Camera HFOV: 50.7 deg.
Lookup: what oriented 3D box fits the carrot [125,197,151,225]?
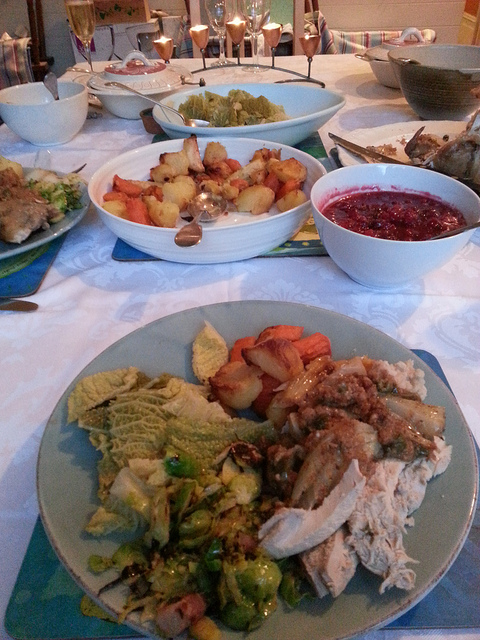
[{"bbox_3d":[-0.250,-0.268,1.255,0.046,0.018,0.073,-9,75,-24],"label":"carrot"}]

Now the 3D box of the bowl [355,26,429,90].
[{"bbox_3d":[0.762,-1.171,2.242,0.394,0.222,0.330,10,38,29],"label":"bowl"}]

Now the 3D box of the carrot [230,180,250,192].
[{"bbox_3d":[0.002,-0.386,1.438,0.036,0.022,0.041,3,30,-1],"label":"carrot"}]

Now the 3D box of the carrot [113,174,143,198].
[{"bbox_3d":[-0.303,-0.366,1.402,0.070,0.022,0.068,-1,40,-43],"label":"carrot"}]

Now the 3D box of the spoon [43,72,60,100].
[{"bbox_3d":[-0.751,-0.934,2.024,0.037,0.115,0.020,-12,76,-7],"label":"spoon"}]

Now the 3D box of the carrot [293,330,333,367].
[{"bbox_3d":[0.124,0.048,0.854,0.063,0.022,0.045,-29,55,-14],"label":"carrot"}]

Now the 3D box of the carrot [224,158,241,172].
[{"bbox_3d":[-0.019,-0.477,1.553,0.049,0.025,0.046,-3,46,-41],"label":"carrot"}]

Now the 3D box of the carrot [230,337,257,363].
[{"bbox_3d":[0.006,0.050,0.901,0.044,0.013,0.042,-11,56,46],"label":"carrot"}]

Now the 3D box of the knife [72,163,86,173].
[{"bbox_3d":[-0.554,-0.516,1.737,0.059,0.018,0.019,-43,6,-8],"label":"knife"}]

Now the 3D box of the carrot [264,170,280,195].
[{"bbox_3d":[0.095,-0.384,1.384,0.015,0.052,0.056,9,43,31],"label":"carrot"}]

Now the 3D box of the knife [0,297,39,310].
[{"bbox_3d":[-0.476,-0.032,1.112,0.094,0.004,0.026,8,37,-11],"label":"knife"}]

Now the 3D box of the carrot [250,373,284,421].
[{"bbox_3d":[0.042,0.121,0.825,0.039,0.067,0.071,5,10,39],"label":"carrot"}]

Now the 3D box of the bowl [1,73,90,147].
[{"bbox_3d":[-0.734,-0.795,1.978,0.330,0.186,0.310,0,43,0],"label":"bowl"}]

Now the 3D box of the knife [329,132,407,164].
[{"bbox_3d":[0.422,-0.557,1.639,0.055,0.019,0.412,-12,34,-31],"label":"knife"}]

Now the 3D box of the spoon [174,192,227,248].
[{"bbox_3d":[-0.102,-0.246,1.244,0.070,0.031,0.234,12,33,8],"label":"spoon"}]

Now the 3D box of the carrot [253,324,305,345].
[{"bbox_3d":[0.074,0.022,0.879,0.055,0.015,0.046,-3,17,8],"label":"carrot"}]

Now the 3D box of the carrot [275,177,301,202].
[{"bbox_3d":[0.129,-0.352,1.358,0.051,0.024,0.068,-52,22,-9],"label":"carrot"}]
